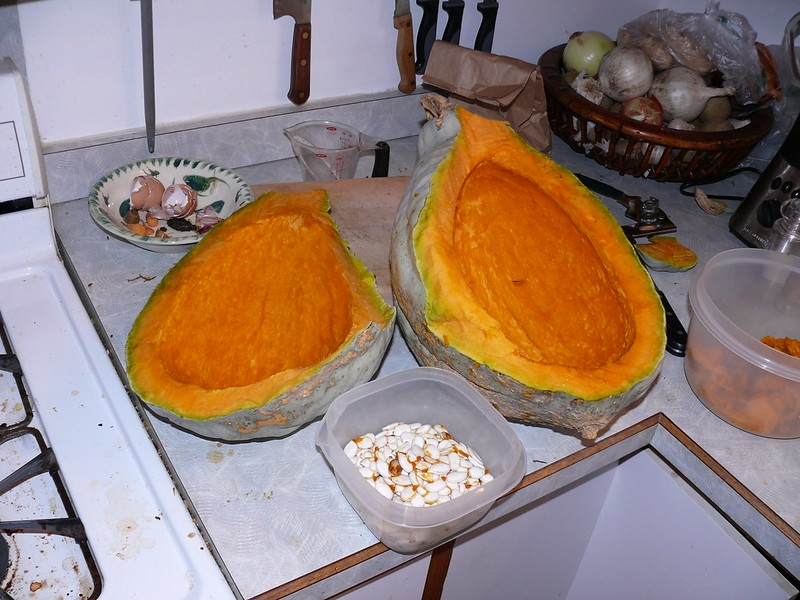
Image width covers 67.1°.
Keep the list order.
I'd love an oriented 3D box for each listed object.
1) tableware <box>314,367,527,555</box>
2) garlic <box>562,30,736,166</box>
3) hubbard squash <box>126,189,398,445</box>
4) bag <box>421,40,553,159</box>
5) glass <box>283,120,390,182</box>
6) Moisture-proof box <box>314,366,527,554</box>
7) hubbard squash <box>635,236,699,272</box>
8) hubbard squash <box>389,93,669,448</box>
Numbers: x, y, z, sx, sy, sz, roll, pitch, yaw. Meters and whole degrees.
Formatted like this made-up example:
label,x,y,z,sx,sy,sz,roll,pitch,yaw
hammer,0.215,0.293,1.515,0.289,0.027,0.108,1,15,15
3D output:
label,x,y,z,sx,sy,sz,roll,pitch,yaw
tableware,0.018,0.173,0.763,0.216,0.106,0.243,-21,46,-29
garlic,0.452,-0.345,1.190,0.294,0.120,0.280,14,64,10
hubbard squash,-0.183,0.030,0.881,0.341,0.158,0.414,-9,45,2
bag,0.167,-0.400,1.207,0.249,0.205,0.111,27,54,30
glass,-0.126,-0.267,1.209,0.189,0.132,0.116,9,39,-4
Moisture-proof box,0.027,0.198,0.741,0.215,0.102,0.234,-18,32,-24
hubbard squash,0.458,-0.077,1.032,0.070,0.029,0.080,-19,41,-25
hubbard squash,0.092,-0.034,0.914,0.332,0.181,0.536,-9,59,-32
